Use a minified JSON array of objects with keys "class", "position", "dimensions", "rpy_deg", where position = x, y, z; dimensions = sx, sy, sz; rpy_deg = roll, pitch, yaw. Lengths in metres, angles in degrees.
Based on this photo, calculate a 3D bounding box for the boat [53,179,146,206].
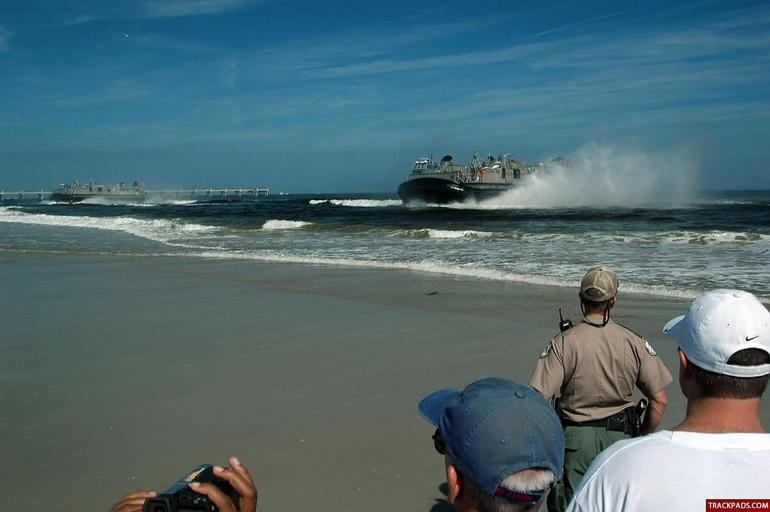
[{"class":"boat","position":[-35.308,-7.863,78.718],"dimensions":[9.358,2.662,4.438],"rpy_deg":[-6,13,-30]}]

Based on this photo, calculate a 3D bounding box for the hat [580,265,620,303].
[{"class":"hat","position":[1.585,0.203,4.591],"dimensions":[0.212,0.132,0.320],"rpy_deg":[4,15,28]}]
